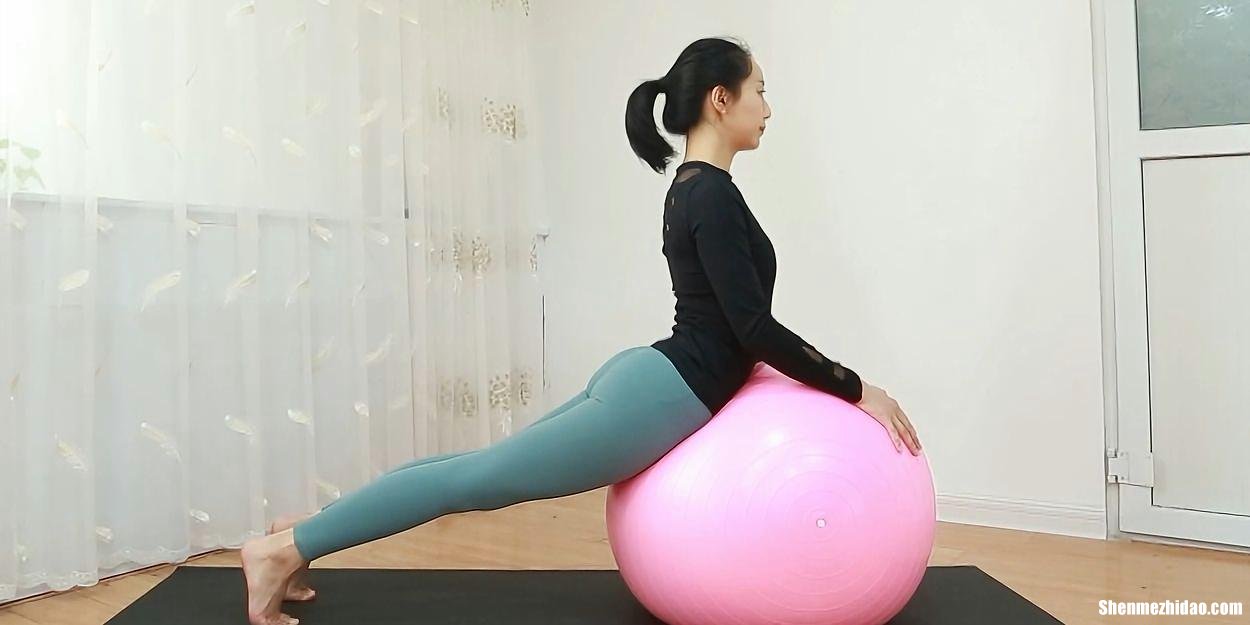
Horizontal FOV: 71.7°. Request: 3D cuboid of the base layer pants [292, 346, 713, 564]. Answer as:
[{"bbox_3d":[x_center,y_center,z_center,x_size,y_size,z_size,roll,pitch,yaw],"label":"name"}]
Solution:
[{"bbox_3d":[-0.713,0.785,4.553,2.283,0.476,0.524,-18,13,1],"label":"base layer pants"}]
